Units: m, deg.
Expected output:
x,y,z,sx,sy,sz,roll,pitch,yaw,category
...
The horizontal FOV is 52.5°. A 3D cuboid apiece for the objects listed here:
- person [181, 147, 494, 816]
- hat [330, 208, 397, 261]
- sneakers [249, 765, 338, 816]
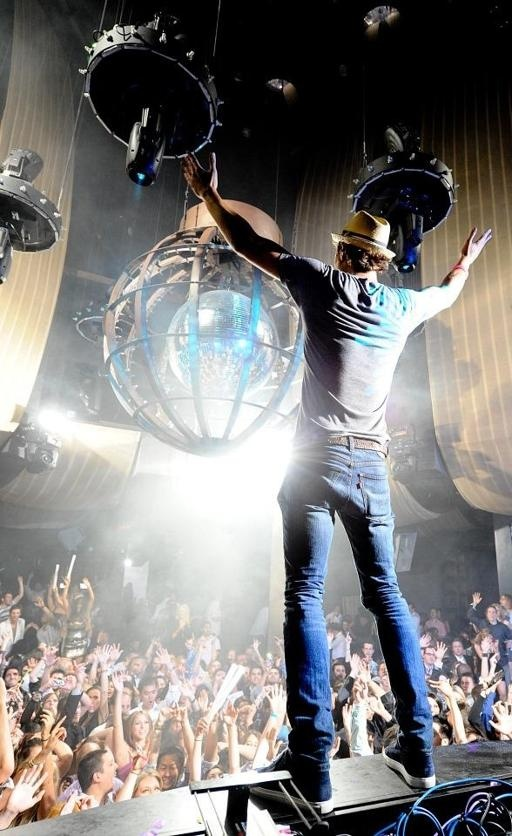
x,y,z,sx,sy,sz,roll,pitch,yaw,category
0.277,0.028,1.659,0.956,1.943,0.645,6,-7,-21,person
0.393,-0.699,1.901,0.173,0.085,0.210,25,5,-8,hat
0.097,0.915,1.291,0.235,0.102,0.085,-11,-39,37,sneakers
